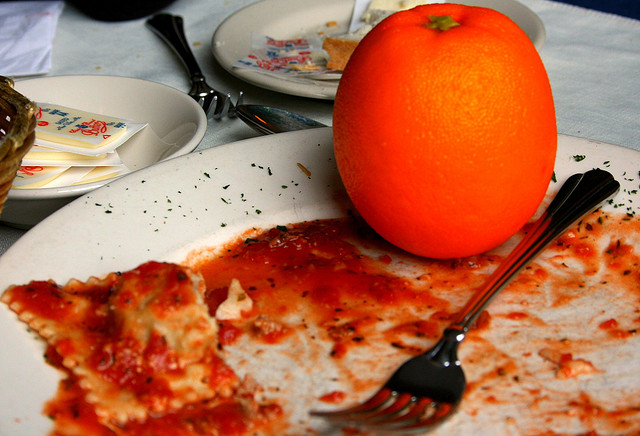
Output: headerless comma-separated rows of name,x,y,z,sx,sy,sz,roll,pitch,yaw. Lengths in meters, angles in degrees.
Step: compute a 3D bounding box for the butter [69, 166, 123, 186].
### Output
butter,-0.472,-0.092,1.276,0.060,0.016,0.056,-10,19,-5
